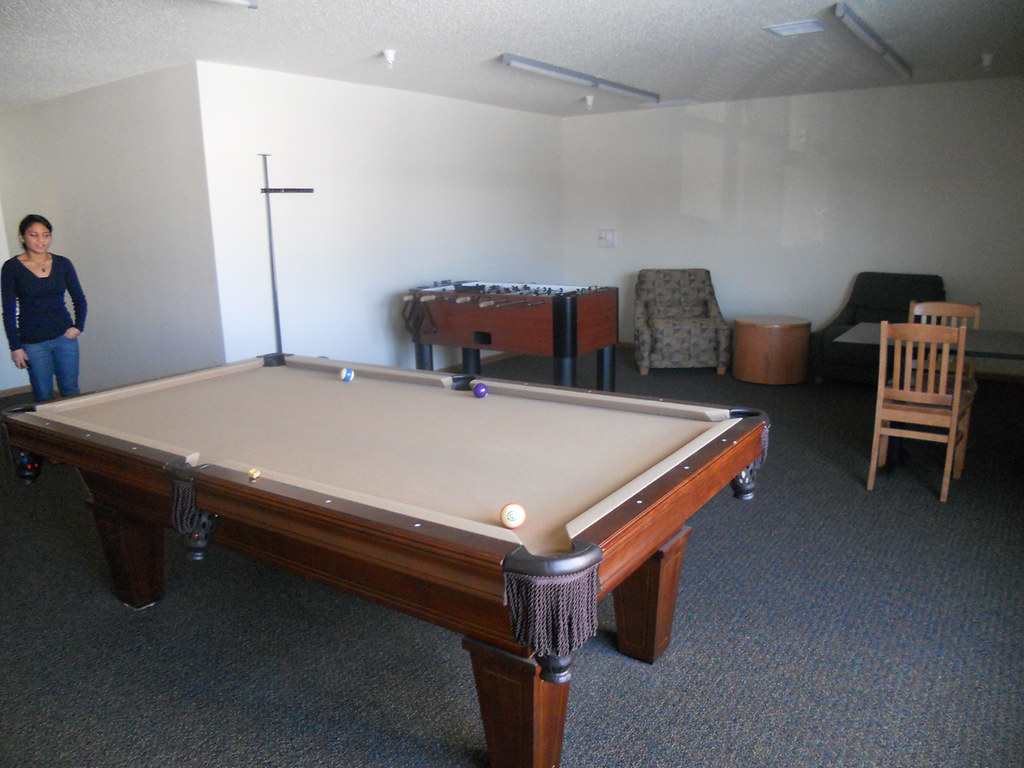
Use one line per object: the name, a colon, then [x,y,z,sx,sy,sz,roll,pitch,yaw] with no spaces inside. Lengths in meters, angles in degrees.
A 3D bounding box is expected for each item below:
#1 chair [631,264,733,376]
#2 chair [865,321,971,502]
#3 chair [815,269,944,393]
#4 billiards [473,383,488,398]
chair: [1.709,-0.663,7.565,0.855,0.936,0.972,-1,15,7]
chair: [2.647,0.030,4.737,0.570,1.013,1.432,6,15,32]
chair: [3.189,-0.589,6.840,1.177,1.255,1.313,6,12,32]
billiards: [-0.136,0.024,3.339,0.057,0.057,0.066,-10,16,-32]
